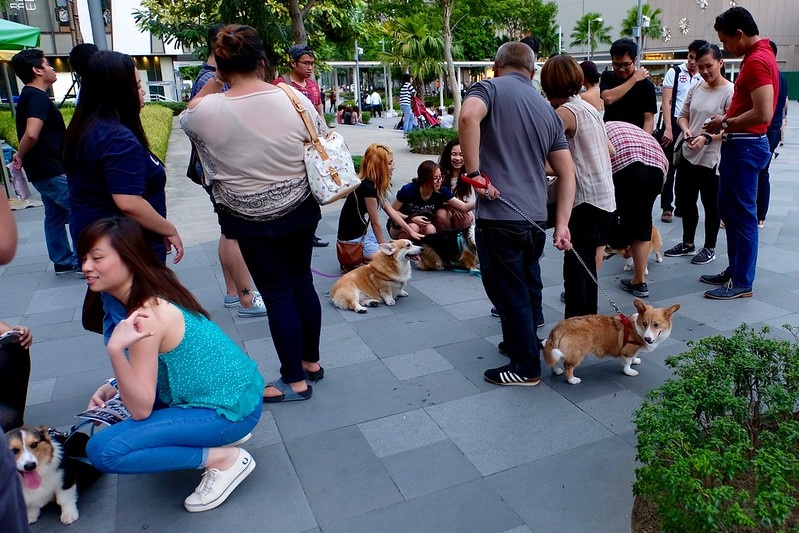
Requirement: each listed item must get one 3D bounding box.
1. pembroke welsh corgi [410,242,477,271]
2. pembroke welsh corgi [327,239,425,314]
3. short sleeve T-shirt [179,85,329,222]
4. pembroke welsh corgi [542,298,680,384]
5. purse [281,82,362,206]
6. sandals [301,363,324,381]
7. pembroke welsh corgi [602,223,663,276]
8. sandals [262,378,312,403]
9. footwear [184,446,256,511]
[{"bbox_3d":[0.567,-0.091,6.376,1.018,0.509,0.294,1,29,-2],"label":"pembroke welsh corgi"},{"bbox_3d":[-0.236,0.134,5.502,0.883,0.610,0.855,5,18,23],"label":"pembroke welsh corgi"},{"bbox_3d":[-1.129,-0.792,3.641,0.609,0.955,1.038,-2,17,42],"label":"short sleeve T-shirt"},{"bbox_3d":[1.704,0.607,4.067,0.988,0.671,0.533,-4,16,18],"label":"pembroke welsh corgi"},{"bbox_3d":[-0.624,-0.874,3.574,0.552,0.756,0.415,-14,33,6],"label":"purse"},{"bbox_3d":[-0.708,0.885,4.139,0.096,0.082,0.189,-6,23,-20],"label":"sandals"},{"bbox_3d":[2.977,-0.262,6.167,0.276,0.568,1.073,0,10,45],"label":"pembroke welsh corgi"},{"bbox_3d":[-0.893,0.996,3.985,0.381,0.145,0.156,3,10,-3],"label":"sandals"},{"bbox_3d":[-1.101,1.345,3.134,0.493,0.199,0.211,-42,40,-22],"label":"footwear"}]
